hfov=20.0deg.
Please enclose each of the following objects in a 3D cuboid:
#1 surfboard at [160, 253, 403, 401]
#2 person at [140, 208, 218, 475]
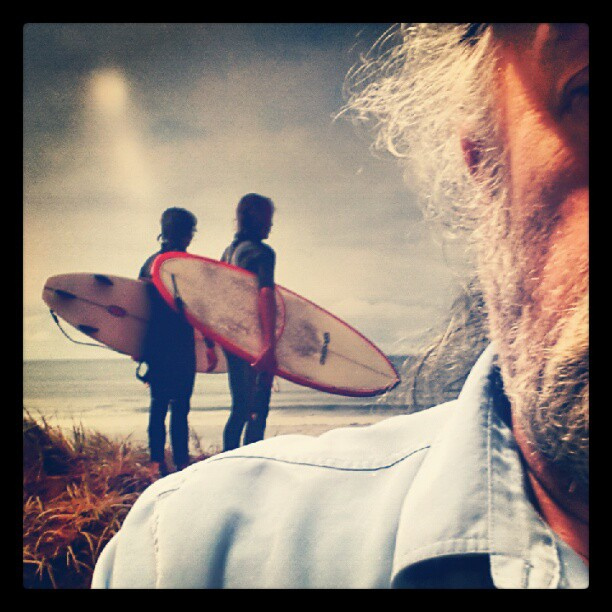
[{"bbox_3d":[0.056,0.159,6.343,0.288,0.227,0.937,-44,36,-14],"label":"surfboard"},{"bbox_3d":[-0.529,0.155,6.377,0.330,1.242,0.292,-3,35,-11],"label":"person"}]
